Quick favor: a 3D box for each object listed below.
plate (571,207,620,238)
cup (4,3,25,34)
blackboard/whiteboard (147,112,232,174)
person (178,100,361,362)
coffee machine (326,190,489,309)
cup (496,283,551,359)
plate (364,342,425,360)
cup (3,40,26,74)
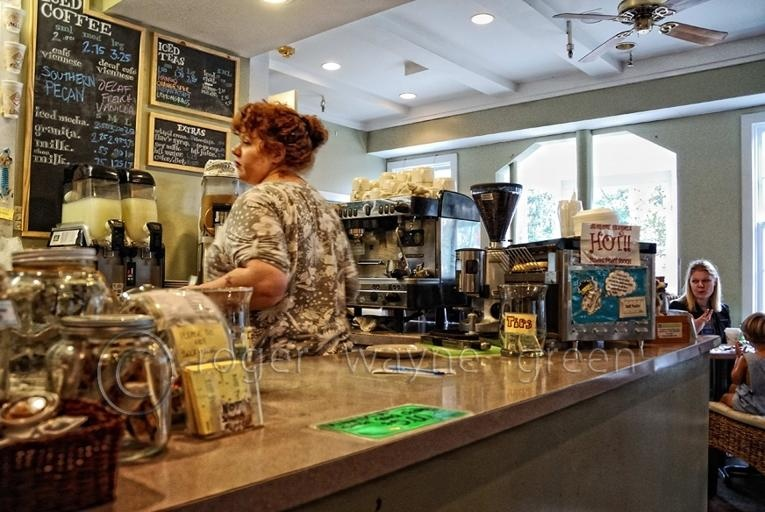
[{"bbox_3d":[0.889,-0.132,2.301,0.157,0.074,0.146,-1,-1,-26],"label":"plate"},{"bbox_3d":[-1.792,-1.173,2.707,0.082,0.140,0.066,0,6,-42],"label":"cup"},{"bbox_3d":[-1.178,-0.688,3.348,0.021,0.301,0.529,-2,-2,39],"label":"blackboard/whiteboard"},{"bbox_3d":[-0.387,-0.103,1.931,0.437,0.904,0.642,7,5,33],"label":"person"},{"bbox_3d":[0.167,0.040,3.658,0.856,0.753,0.868,7,-10,-45],"label":"coffee machine"},{"bbox_3d":[0.494,0.228,1.962,0.250,0.318,0.251,3,-7,0],"label":"cup"},{"bbox_3d":[0.052,0.325,1.871,0.173,0.038,0.159,2,4,-23],"label":"plate"},{"bbox_3d":[-1.799,-0.983,2.720,0.086,0.155,0.057,1,5,-35],"label":"cup"}]
